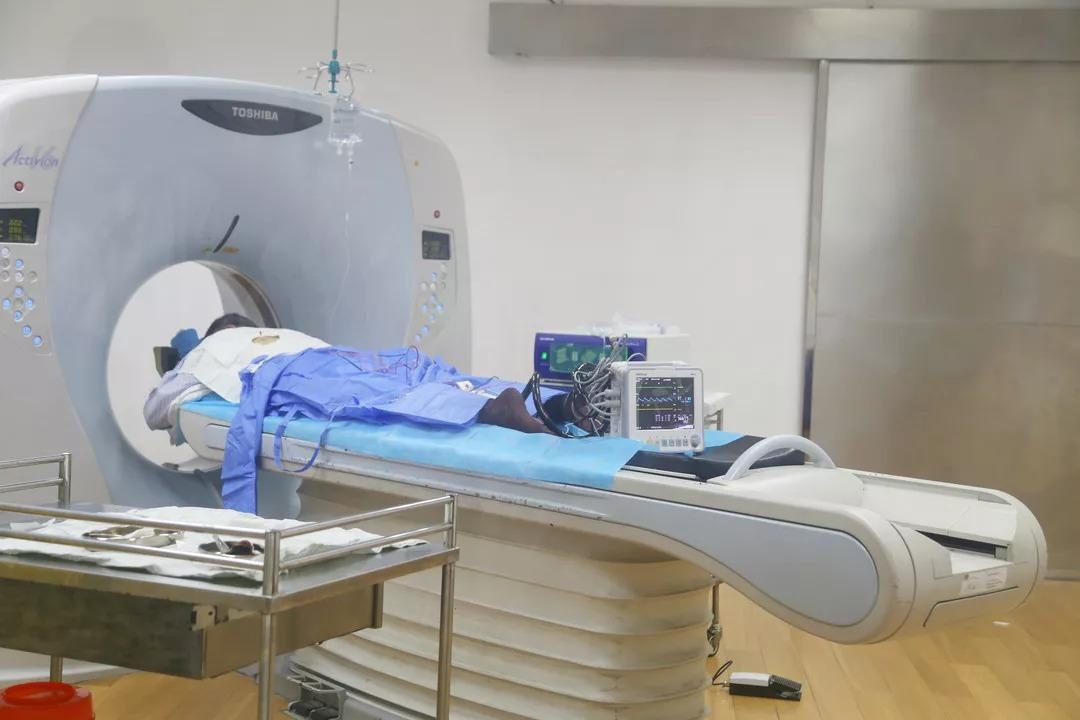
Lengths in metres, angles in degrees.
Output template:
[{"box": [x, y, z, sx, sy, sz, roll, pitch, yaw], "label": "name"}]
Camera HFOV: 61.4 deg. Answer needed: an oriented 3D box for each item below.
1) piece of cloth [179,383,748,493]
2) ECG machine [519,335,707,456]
[{"box": [-0.188, 0.406, 3.391, 1.838, 0.272, 0.878, 6, -6, 10], "label": "piece of cloth"}, {"box": [0.219, 0.104, 3.123, 0.484, 0.320, 0.619, -1, 9, -19], "label": "ECG machine"}]
